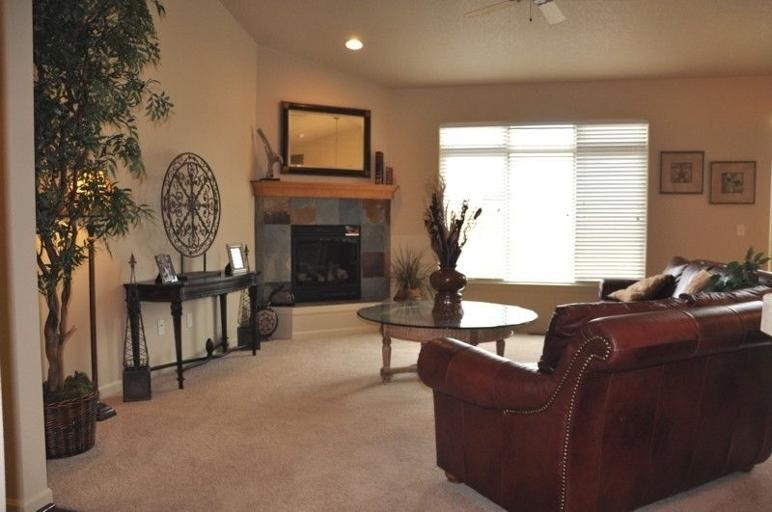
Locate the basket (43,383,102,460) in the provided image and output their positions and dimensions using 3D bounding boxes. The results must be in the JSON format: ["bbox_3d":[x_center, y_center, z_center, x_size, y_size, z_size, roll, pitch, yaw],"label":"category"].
[{"bbox_3d":[-2.167,1.209,4.199,0.391,0.336,0.369,-17,-14,32],"label":"basket"}]

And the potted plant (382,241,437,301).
[{"bbox_3d":[0.350,0.213,7.580,0.688,0.684,0.663,1,-4,-9],"label":"potted plant"}]

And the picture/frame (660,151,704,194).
[{"bbox_3d":[3.569,-1.011,7.041,0.536,0.565,0.039,0,3,5],"label":"picture/frame"}]

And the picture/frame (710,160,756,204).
[{"bbox_3d":[4.128,-0.888,6.953,0.516,0.552,0.037,2,7,8],"label":"picture/frame"}]

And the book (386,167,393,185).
[{"bbox_3d":[0.069,-1.037,7.568,0.101,0.217,0.202,0,12,-1],"label":"book"}]

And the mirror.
[{"bbox_3d":[-0.719,-1.434,7.295,1.186,0.833,0.062,-2,9,-27],"label":"mirror"}]

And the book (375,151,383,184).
[{"bbox_3d":[-0.074,-1.132,7.478,0.142,0.379,0.388,1,4,5],"label":"book"}]

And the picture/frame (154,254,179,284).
[{"bbox_3d":[-1.972,0.116,5.308,0.151,0.259,0.274,2,-1,13],"label":"picture/frame"}]

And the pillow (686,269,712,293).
[{"bbox_3d":[2.726,0.219,5.109,0.048,0.152,0.157,39,-14,-12],"label":"pillow"}]

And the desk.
[{"bbox_3d":[-1.721,0.648,5.723,0.561,0.934,1.479,0,3,16],"label":"desk"}]
